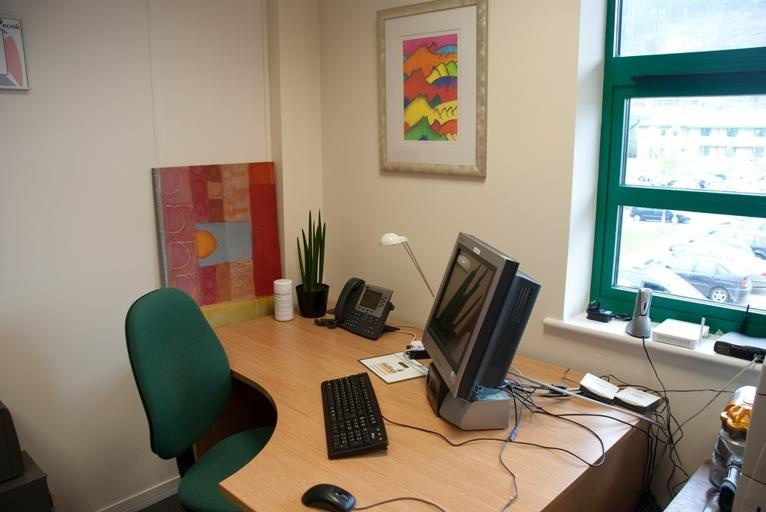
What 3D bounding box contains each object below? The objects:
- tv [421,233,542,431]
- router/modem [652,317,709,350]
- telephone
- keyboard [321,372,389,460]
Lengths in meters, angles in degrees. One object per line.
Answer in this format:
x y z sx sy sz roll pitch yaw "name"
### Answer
0.457 0.361 2.315 0.370 0.809 0.576 7 17 -18 "tv"
1.375 0.359 2.437 0.152 0.038 0.164 2 14 36 "router/modem"
-0.145 0.297 3.067 0.422 0.268 0.277 11 14 28 "telephone"
-0.140 0.674 2.298 0.250 0.084 0.505 -2 22 -9 "keyboard"
